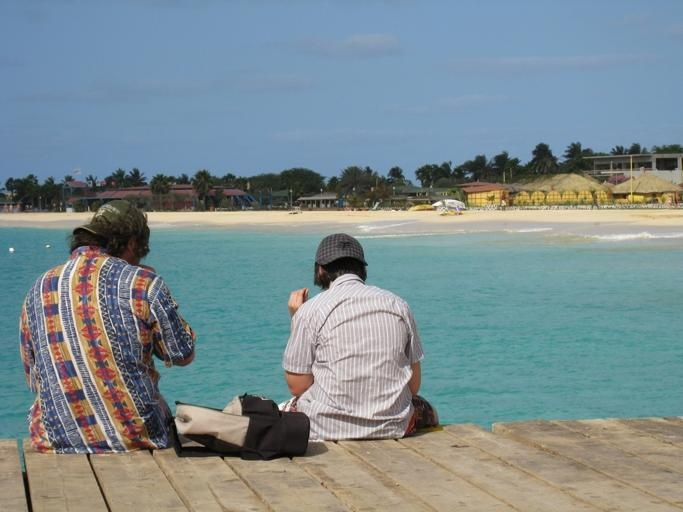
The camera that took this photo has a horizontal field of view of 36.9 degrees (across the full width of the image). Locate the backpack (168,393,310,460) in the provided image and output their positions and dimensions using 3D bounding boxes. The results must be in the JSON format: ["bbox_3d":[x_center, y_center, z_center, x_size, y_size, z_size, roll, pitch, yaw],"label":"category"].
[{"bbox_3d":[-0.749,1.325,7.888,0.692,0.309,0.526,2,-1,-14],"label":"backpack"}]

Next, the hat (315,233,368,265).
[{"bbox_3d":[0.015,-0.055,8.308,0.412,0.259,0.523,3,-5,-11],"label":"hat"}]

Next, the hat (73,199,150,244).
[{"bbox_3d":[-1.713,-0.309,8.086,0.523,0.278,0.348,-3,-5,-39],"label":"hat"}]
